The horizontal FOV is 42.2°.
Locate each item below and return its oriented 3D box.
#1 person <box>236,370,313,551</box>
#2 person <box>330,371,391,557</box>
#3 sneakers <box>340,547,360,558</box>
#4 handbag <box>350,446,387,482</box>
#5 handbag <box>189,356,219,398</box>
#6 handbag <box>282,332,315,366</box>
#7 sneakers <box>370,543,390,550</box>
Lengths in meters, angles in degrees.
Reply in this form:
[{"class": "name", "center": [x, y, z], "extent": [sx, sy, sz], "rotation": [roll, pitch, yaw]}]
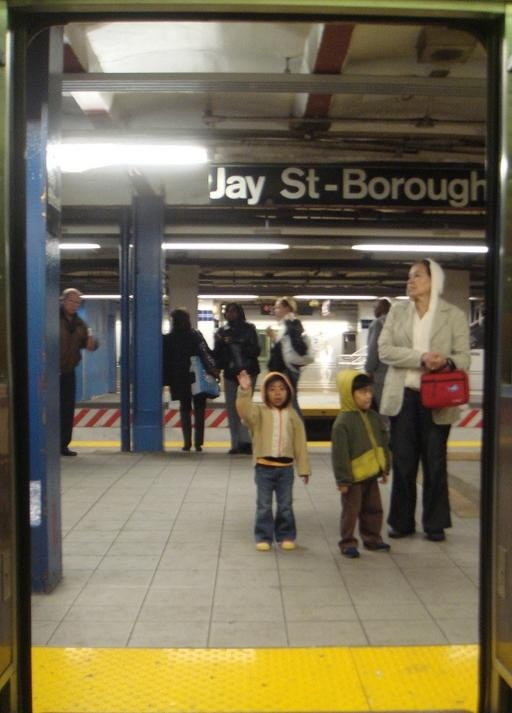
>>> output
[{"class": "person", "center": [0.105, 0.645, 4.099], "extent": [0.437, 1.085, 0.491], "rotation": [0, 0, -2]}, {"class": "person", "center": [0.633, 0.637, 3.987], "extent": [0.399, 1.103, 0.304], "rotation": [0, 0, -8]}, {"class": "sneakers", "center": [0.557, 1.157, 3.911], "extent": [0.107, 0.054, 0.072], "rotation": [0, 1, 9]}, {"class": "handbag", "center": [0.675, 0.630, 3.899], "extent": [0.193, 0.147, 0.190], "rotation": [-24, -1, -38]}, {"class": "handbag", "center": [-0.602, 0.240, 7.841], "extent": [0.243, 0.532, 0.366], "rotation": [-19, -18, 26]}, {"class": "handbag", "center": [0.458, -0.074, 6.672], "extent": [0.338, 0.317, 0.257], "rotation": [-15, 15, -28]}, {"class": "sneakers", "center": [0.750, 1.158, 4.017], "extent": [0.126, 0.062, 0.048], "rotation": [-2, 0, 5]}]
